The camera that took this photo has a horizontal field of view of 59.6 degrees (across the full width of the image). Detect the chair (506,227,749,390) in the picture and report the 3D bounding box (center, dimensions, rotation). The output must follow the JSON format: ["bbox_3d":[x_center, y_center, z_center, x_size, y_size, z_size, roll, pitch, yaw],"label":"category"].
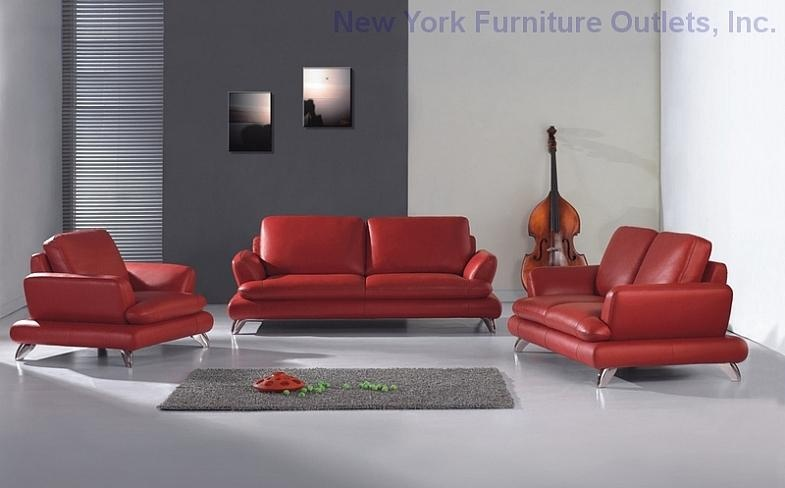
[{"bbox_3d":[2.150,0.476,6.599,1.511,1.044,1.907,-4,5,-10],"label":"chair"}]

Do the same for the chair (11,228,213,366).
[{"bbox_3d":[-2.693,0.459,6.666,1.706,0.991,1.487,2,6,-5],"label":"chair"}]
